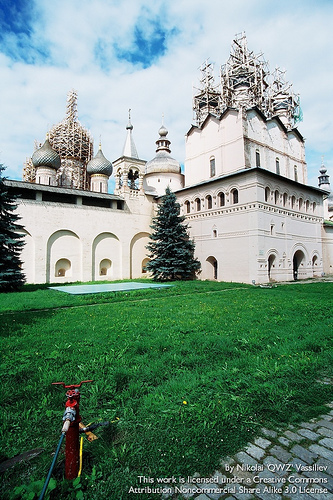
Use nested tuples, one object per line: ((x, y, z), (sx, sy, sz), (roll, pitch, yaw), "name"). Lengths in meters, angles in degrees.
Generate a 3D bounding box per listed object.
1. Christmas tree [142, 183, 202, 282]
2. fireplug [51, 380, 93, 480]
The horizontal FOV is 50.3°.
((0.334, -1.028, 22.840), (2.939, 6.014, 2.007), (0, 3, 3), "Christmas tree")
((-0.686, 1.374, 2.591), (0.289, 0.722, 0.183), (2, 4, -28), "fireplug")
